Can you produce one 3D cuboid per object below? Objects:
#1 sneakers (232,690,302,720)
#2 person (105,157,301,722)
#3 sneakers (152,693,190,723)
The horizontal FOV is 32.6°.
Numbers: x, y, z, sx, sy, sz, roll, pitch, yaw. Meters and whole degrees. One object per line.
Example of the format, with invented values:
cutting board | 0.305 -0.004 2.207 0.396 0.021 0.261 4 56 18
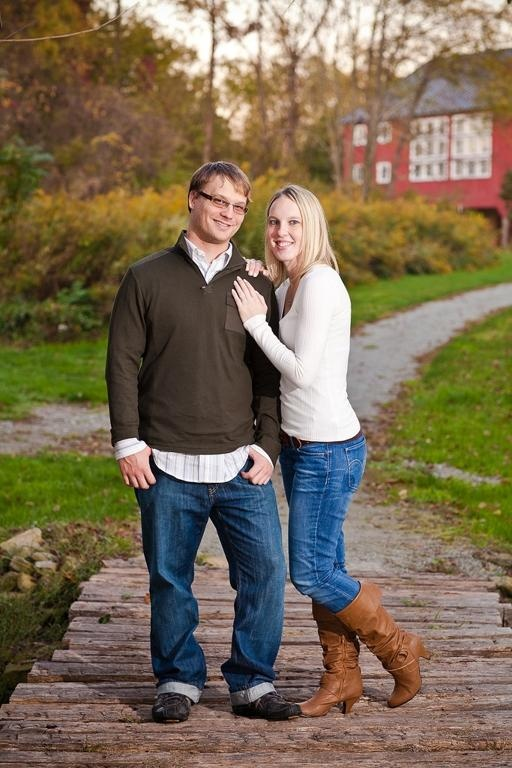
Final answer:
sneakers | 0.045 1.207 3.312 0.255 0.093 0.095 -2 -5 6
person | -0.210 0.185 3.345 0.710 2.111 0.514 0 5 -9
sneakers | -0.304 1.177 3.206 0.174 0.062 0.083 -7 4 44
